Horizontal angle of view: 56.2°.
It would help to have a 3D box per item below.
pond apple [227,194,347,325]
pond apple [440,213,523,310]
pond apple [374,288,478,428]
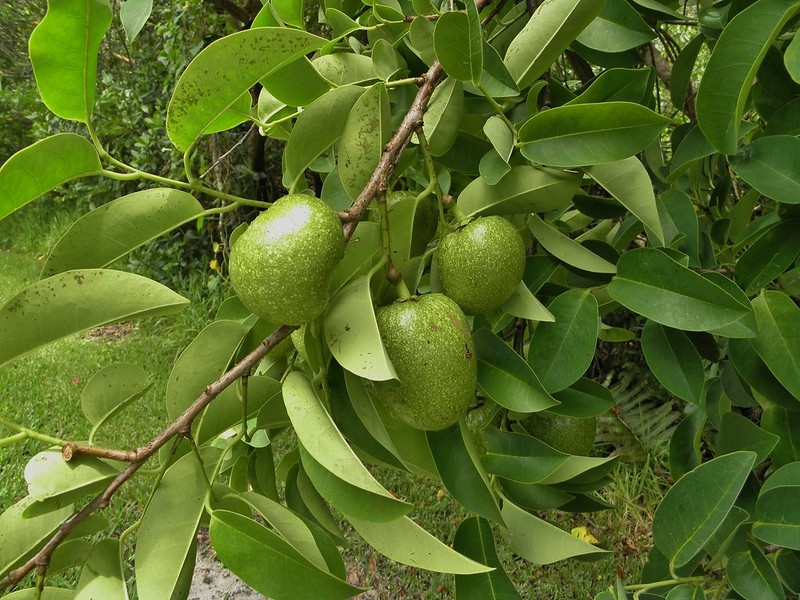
[{"bbox_3d":[-0.192,-0.074,1.323,0.189,0.229,0.222,-7,7,-10],"label":"pond apple"},{"bbox_3d":[0.121,-0.067,1.424,0.107,0.144,0.147,2,13,-15],"label":"pond apple"},{"bbox_3d":[0.043,0.109,1.328,0.189,0.167,0.185,8,49,-8],"label":"pond apple"}]
